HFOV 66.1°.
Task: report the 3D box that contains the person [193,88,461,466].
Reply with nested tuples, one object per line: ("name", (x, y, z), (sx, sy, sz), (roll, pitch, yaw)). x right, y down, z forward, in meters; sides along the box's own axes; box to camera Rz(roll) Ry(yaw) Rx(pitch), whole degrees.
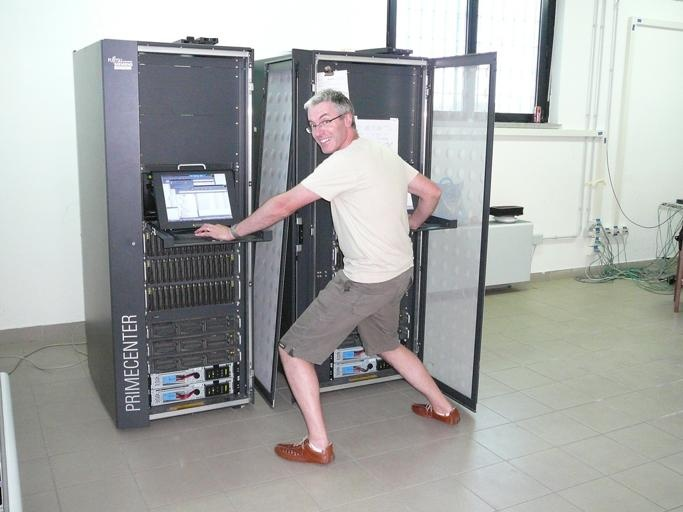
("person", (0.055, 0.109, 2.981), (1.229, 2.009, 0.539), (-5, 16, -20))

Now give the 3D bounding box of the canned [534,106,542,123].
("canned", (2.365, -1.691, 6.290), (0.097, 0.186, 0.044), (1, 1, 3))

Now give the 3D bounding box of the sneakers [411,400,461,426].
("sneakers", (0.588, 1.012, 3.377), (0.329, 0.133, 0.112), (15, 19, 37))

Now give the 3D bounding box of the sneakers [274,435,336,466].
("sneakers", (-0.208, 1.103, 2.994), (0.355, 0.142, 0.132), (5, -9, 12))

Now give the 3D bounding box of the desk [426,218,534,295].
("desk", (1.155, -0.017, 4.310), (0.734, 0.641, 0.393), (-5, 11, -24))
